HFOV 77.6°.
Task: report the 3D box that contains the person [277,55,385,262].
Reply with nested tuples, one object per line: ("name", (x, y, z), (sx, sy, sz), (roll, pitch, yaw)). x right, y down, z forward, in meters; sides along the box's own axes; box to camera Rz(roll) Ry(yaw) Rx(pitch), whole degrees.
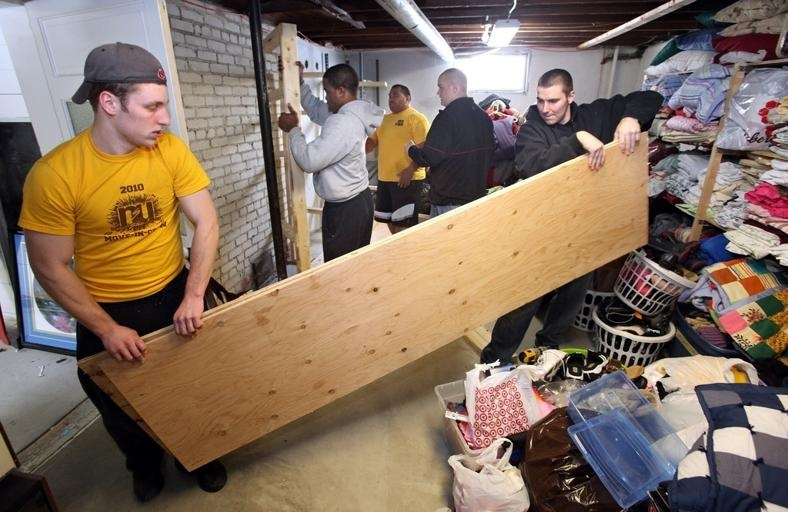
("person", (-0.437, -0.700, 4.013), (0.766, 1.536, 0.495), (-21, 32, -36))

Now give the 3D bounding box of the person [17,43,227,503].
("person", (-1.467, -0.250, 2.596), (0.943, 1.557, 0.624), (-10, 27, -18))

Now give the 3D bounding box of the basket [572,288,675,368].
("basket", (1.714, 0.529, 3.702), (0.531, 0.301, 0.547), (-21, 42, -23))

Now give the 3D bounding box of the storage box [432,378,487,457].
("storage box", (0.375, 1.030, 3.181), (0.311, 0.283, 0.428), (-9, 3, 3))

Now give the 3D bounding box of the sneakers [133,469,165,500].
("sneakers", (-1.519, 1.403, 3.090), (0.173, 0.235, 0.167), (11, 24, -23))

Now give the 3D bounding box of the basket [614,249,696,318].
("basket", (1.818, 0.179, 3.633), (0.436, 0.298, 0.419), (5, 21, -12))

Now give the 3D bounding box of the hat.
("hat", (-1.533, -1.009, 2.697), (0.521, 0.280, 0.372), (-4, 19, 12))

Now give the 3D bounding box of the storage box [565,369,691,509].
("storage box", (1.303, 1.030, 2.800), (0.511, 0.210, 0.615), (-24, 48, -7))

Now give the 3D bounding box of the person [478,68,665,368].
("person", (1.224, -0.205, 3.558), (0.880, 2.072, 1.110), (14, 29, 28))
